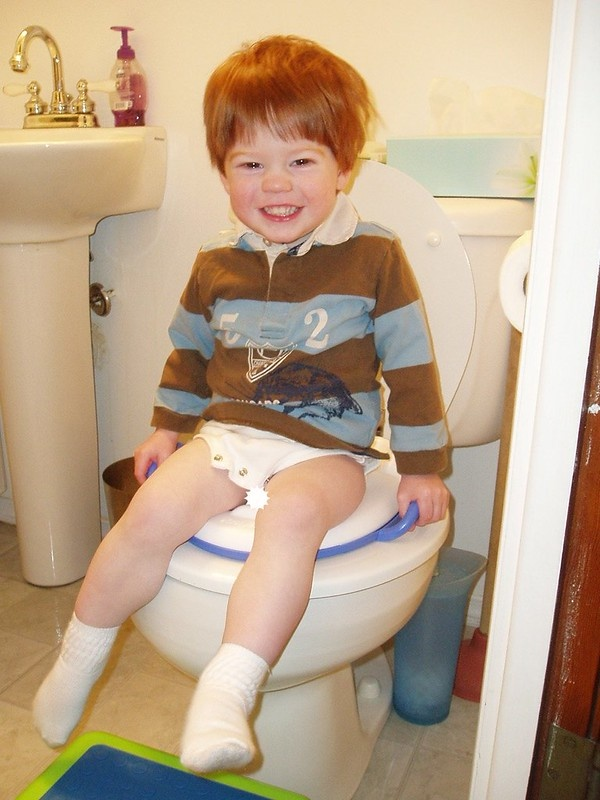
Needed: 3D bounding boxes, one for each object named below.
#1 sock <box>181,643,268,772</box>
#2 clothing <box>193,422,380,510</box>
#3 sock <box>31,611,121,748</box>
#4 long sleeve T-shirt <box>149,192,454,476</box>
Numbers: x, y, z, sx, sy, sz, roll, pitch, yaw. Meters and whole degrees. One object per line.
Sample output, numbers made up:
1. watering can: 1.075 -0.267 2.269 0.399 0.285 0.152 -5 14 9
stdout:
1. sock: -0.051 0.242 0.554 0.059 0.044 0.110 -11 24 13
2. clothing: -0.051 0.061 0.763 0.121 0.030 0.114 6 22 14
3. sock: -0.234 0.287 0.694 0.058 0.172 0.047 20 3 -2
4. long sleeve T-shirt: 0.016 -0.073 0.832 0.429 0.354 0.203 7 9 19
